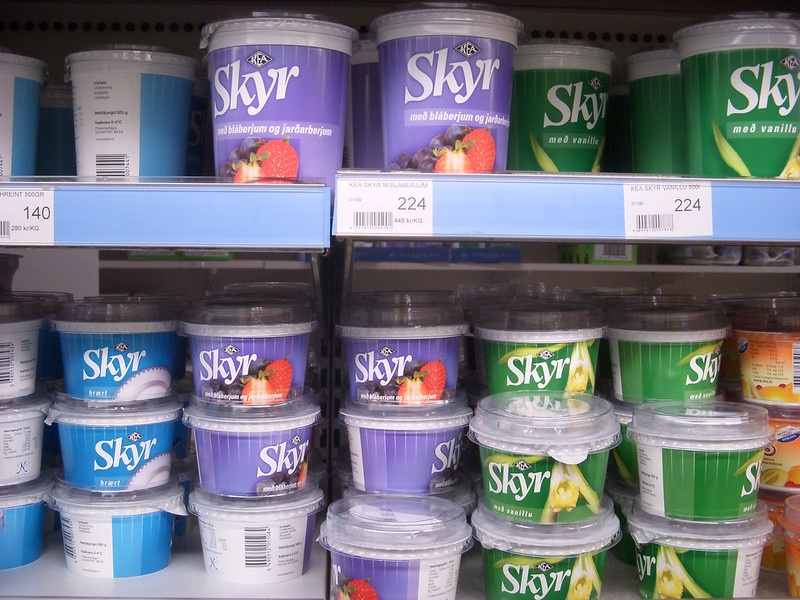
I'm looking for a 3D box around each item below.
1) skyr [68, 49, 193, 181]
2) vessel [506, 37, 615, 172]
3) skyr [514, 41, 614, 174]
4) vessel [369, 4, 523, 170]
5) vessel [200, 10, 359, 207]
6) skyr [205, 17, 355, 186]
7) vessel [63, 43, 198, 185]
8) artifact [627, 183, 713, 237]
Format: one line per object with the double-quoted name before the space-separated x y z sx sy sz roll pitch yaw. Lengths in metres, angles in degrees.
"skyr" -0.647 -0.433 1.963 0.314 0.326 0.306 3 5 28
"vessel" 0.384 -0.453 2.032 0.283 0.311 0.311 0 8 -11
"skyr" 0.374 -0.459 2.049 0.274 0.293 0.297 2 5 -16
"vessel" 0.118 -0.463 1.873 0.330 0.324 0.318 2 3 8
"vessel" -0.276 -0.429 1.861 0.373 0.377 0.377 2 6 -5
"skyr" -0.248 -0.430 1.881 0.335 0.332 0.330 1 2 0
"vessel" -0.636 -0.412 1.960 0.313 0.311 0.314 0 -1 -35
"artifact" 0.535 -0.186 1.665 0.194 0.122 0.104 -1 8 -4
